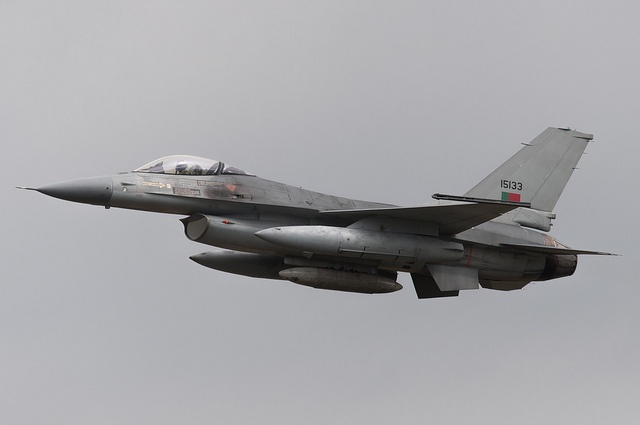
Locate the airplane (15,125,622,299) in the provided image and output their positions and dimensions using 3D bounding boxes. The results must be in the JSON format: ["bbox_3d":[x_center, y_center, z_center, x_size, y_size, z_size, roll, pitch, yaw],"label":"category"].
[{"bbox_3d":[0.874,0.415,17.960,10.164,5.123,2.276,4,-98,-11],"label":"airplane"}]
